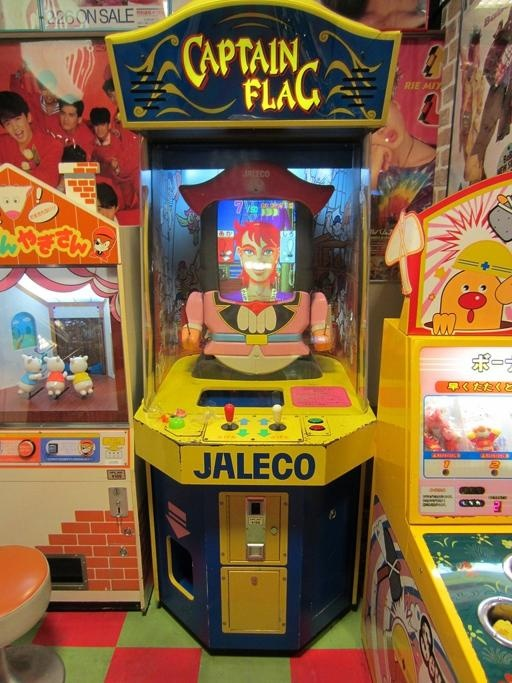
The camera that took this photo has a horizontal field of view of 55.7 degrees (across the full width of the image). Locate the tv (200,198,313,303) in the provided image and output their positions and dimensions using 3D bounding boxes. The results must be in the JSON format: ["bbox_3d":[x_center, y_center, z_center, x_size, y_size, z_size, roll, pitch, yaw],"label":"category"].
[{"bbox_3d":[-0.001,-0.409,2.082,0.430,0.417,0.057,1,7,-1],"label":"tv"}]
